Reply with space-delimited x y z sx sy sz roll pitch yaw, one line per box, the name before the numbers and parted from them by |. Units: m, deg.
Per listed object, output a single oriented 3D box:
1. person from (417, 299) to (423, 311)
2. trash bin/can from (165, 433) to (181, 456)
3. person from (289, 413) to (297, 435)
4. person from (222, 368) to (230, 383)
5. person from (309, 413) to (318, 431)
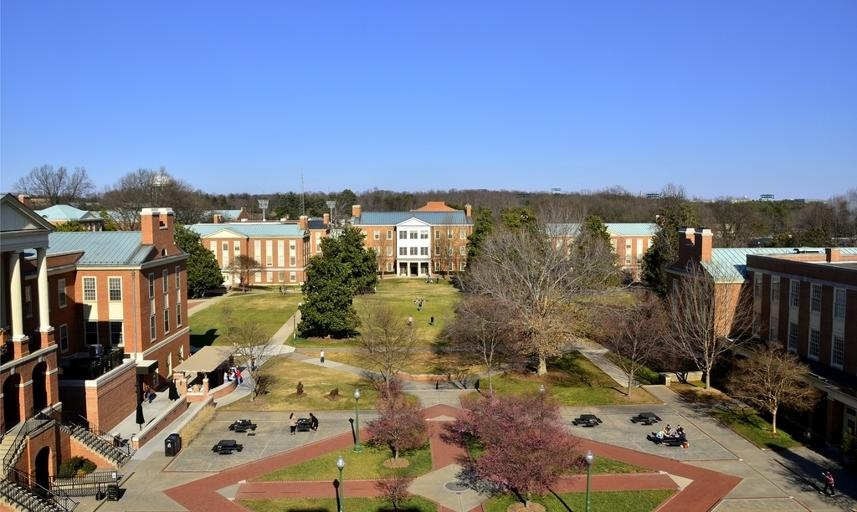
person | -1.254 7.615 100.850 1.167 1.796 0.712 3 18 9
trash bin/can | -21.621 16.019 55.608 0.570 1.246 1.663 -1 4 -1
person | -12.376 15.114 59.749 0.714 1.425 1.569 -4 6 -13
person | -21.393 12.833 69.819 0.900 1.162 0.438 4 -4 31
person | -10.452 15.140 60.147 0.742 1.227 1.258 -4 6 -12
